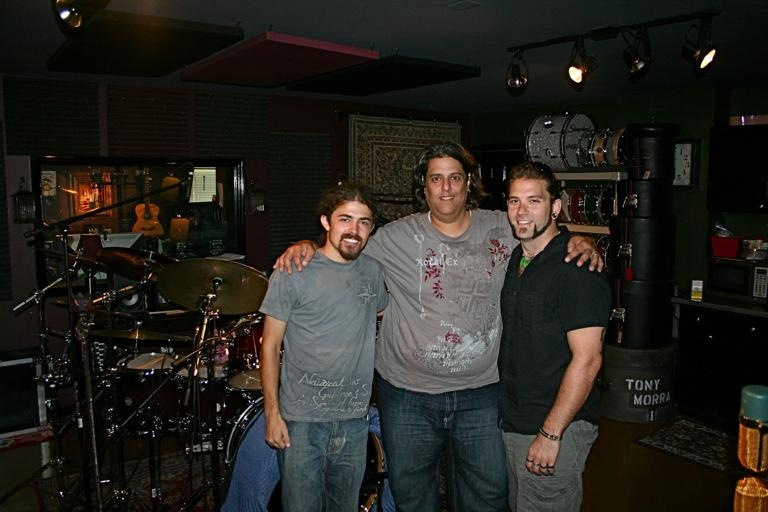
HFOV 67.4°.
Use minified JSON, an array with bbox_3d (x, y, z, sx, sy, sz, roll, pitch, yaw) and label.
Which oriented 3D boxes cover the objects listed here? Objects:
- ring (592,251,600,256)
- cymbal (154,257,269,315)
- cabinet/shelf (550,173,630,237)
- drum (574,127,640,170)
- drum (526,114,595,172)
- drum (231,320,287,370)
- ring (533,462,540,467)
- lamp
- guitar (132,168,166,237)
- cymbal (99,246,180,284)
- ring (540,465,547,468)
[{"bbox_3d":[1.325,-0.014,3.601,0.054,0.033,0.074,4,1,10],"label":"ring"},{"bbox_3d":[-1.391,0.276,4.716,0.938,0.209,0.904,11,1,-41],"label":"cymbal"},{"bbox_3d":[2.529,-0.709,6.958,0.529,0.747,0.836,-15,17,-38],"label":"cabinet/shelf"},{"bbox_3d":[2.573,-1.202,6.606,0.595,0.578,0.553,3,1,-40],"label":"drum"},{"bbox_3d":[2.080,-1.412,7.276,0.478,0.629,0.651,-1,41,15],"label":"drum"},{"bbox_3d":[-1.133,0.815,5.489,0.508,0.464,0.501,-4,-5,-31],"label":"drum"},{"bbox_3d":[0.912,1.236,3.442,0.034,0.011,0.037,2,-2,0],"label":"ring"},{"bbox_3d":[2.064,-1.829,5.373,1.875,0.499,0.325,6,22,41],"label":"lamp"},{"bbox_3d":[-2.935,-0.620,7.063,0.388,0.827,0.227,-6,14,-24],"label":"guitar"},{"bbox_3d":[-2.294,0.057,5.302,0.529,0.163,0.530,10,2,13],"label":"cymbal"},{"bbox_3d":[0.950,1.243,3.422,0.043,0.022,0.003,4,14,17],"label":"ring"}]
